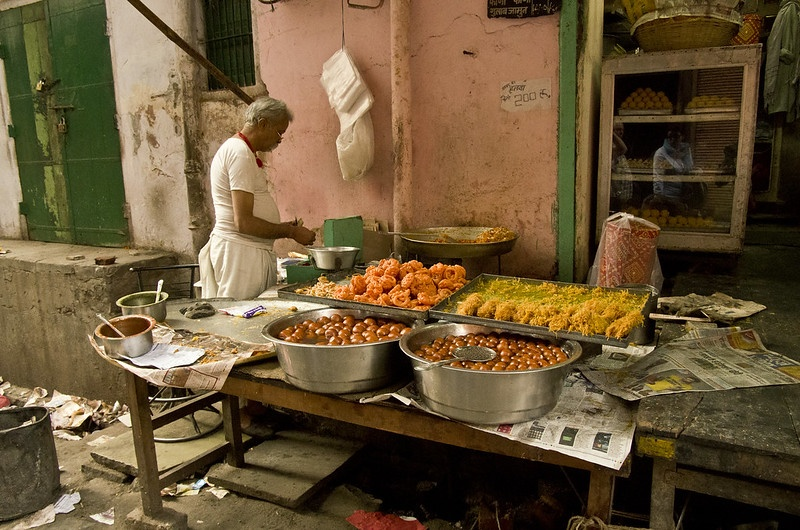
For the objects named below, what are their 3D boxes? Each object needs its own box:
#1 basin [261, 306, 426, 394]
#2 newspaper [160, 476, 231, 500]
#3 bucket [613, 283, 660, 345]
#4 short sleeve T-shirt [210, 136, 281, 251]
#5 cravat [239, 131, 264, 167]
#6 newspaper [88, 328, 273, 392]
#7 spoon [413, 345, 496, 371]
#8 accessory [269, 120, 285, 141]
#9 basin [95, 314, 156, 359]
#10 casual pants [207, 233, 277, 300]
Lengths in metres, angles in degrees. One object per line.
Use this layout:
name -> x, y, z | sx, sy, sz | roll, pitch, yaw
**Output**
basin -> -0.447, 0.550, 3.990 | 0.672, 0.235, 0.673 | 0, 6, 0
newspaper -> -1.788, 1.897, 5.269 | 0.371, 0.107, 0.253 | 10, -2, -29
bucket -> 1.615, 0.344, 4.155 | 0.311, 0.341, 0.339 | -5, 18, 2
short sleeve T-shirt -> -1.444, -0.670, 5.732 | 0.679, 1.080, 0.953 | 0, 9, -18
cravat -> -1.311, -1.004, 5.433 | 0.280, 0.106, 0.290 | 55, 4, 39
newspaper -> -1.570, 0.633, 4.343 | 1.050, 0.153, 0.578 | 9, 17, 25
spoon -> 0.374, 0.571, 3.698 | 0.402, 0.043, 0.192 | -13, 15, -31
accessory -> -1.122, -1.235, 5.547 | 0.145, 0.141, 0.110 | 29, 18, 8
basin -> -1.949, 0.498, 4.314 | 0.373, 0.241, 0.305 | -12, 22, -42
casual pants -> -1.468, 0.011, 5.591 | 0.496, 0.574, 0.353 | 9, 17, 25
